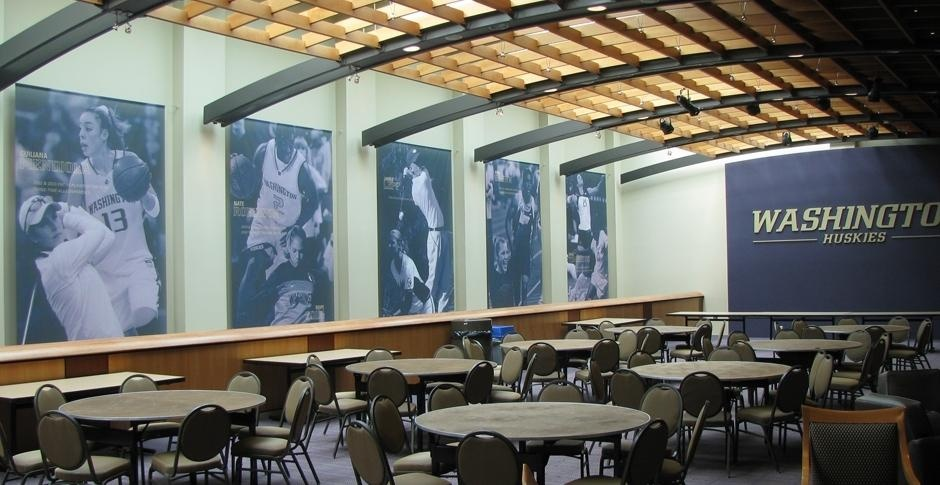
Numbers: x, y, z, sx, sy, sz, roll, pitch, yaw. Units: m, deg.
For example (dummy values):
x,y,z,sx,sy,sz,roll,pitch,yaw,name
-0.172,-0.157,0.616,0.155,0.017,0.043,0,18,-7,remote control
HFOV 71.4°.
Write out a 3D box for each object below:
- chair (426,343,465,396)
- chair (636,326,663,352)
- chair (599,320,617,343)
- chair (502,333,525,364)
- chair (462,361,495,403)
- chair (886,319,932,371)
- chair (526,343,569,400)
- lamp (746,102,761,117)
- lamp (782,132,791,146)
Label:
x,y,z,sx,sy,sz,roll,pitch,yaw,name
-0.434,2.424,13.423,0.626,0.955,0.696,0,-20,5,chair
3.956,2.216,14.727,0.687,0.732,0.678,0,-6,3,chair
3.384,2.178,16.239,0.427,0.615,0.447,3,-5,-20,chair
0.929,2.235,14.412,0.447,0.432,0.442,-1,-5,8,chair
0.112,2.468,11.448,0.560,0.708,0.287,3,-7,-35,chair
10.411,2.459,15.505,0.843,1.227,3.046,-6,-8,34,chair
1.489,2.521,13.251,0.872,1.336,0.965,0,3,14,chair
7.687,-3.576,17.880,0.279,0.346,0.902,-6,-11,29,lamp
10.192,-3.407,21.125,0.356,0.459,0.480,1,-2,19,lamp
